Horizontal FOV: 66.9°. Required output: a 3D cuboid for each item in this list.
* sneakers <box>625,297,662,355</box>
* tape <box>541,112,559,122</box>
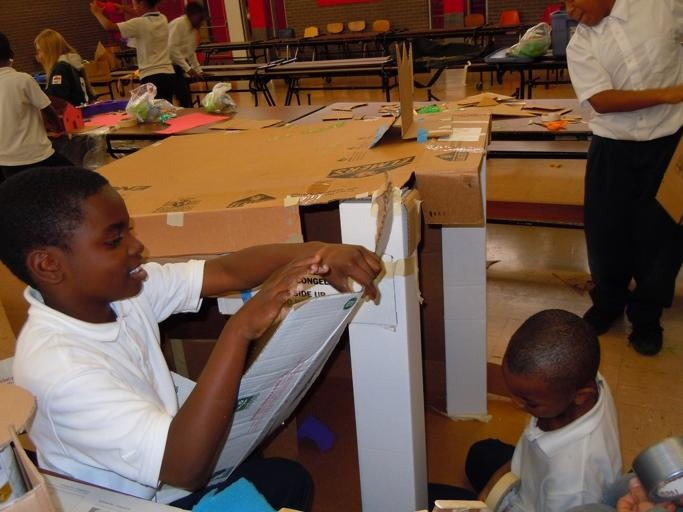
[{"bbox_3d":[1.408,0.324,2.438,0.117,0.130,0.291,-5,67,24],"label":"sneakers"},{"bbox_3d":[1.206,-0.802,2.996,0.106,0.022,0.100,-3,20,16],"label":"tape"}]
